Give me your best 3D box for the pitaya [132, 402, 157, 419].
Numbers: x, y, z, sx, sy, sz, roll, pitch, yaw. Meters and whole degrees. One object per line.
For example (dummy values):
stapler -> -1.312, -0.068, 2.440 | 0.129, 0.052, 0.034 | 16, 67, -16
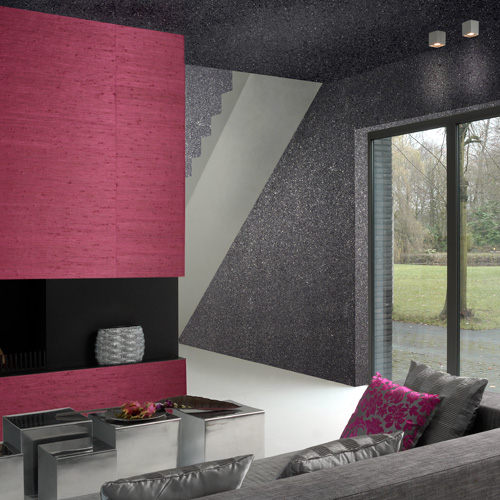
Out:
pitaya -> -0.508, 0.769, 2.358 | 0.076, 0.036, 0.113 | 1, -1, -1

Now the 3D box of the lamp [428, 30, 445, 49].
lamp -> 1.466, -1.650, 3.918 | 0.137, 0.115, 0.131 | -2, 5, -38

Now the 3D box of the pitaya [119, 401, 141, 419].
pitaya -> -0.570, 0.761, 2.353 | 0.063, 0.026, 0.074 | -7, 5, 0
